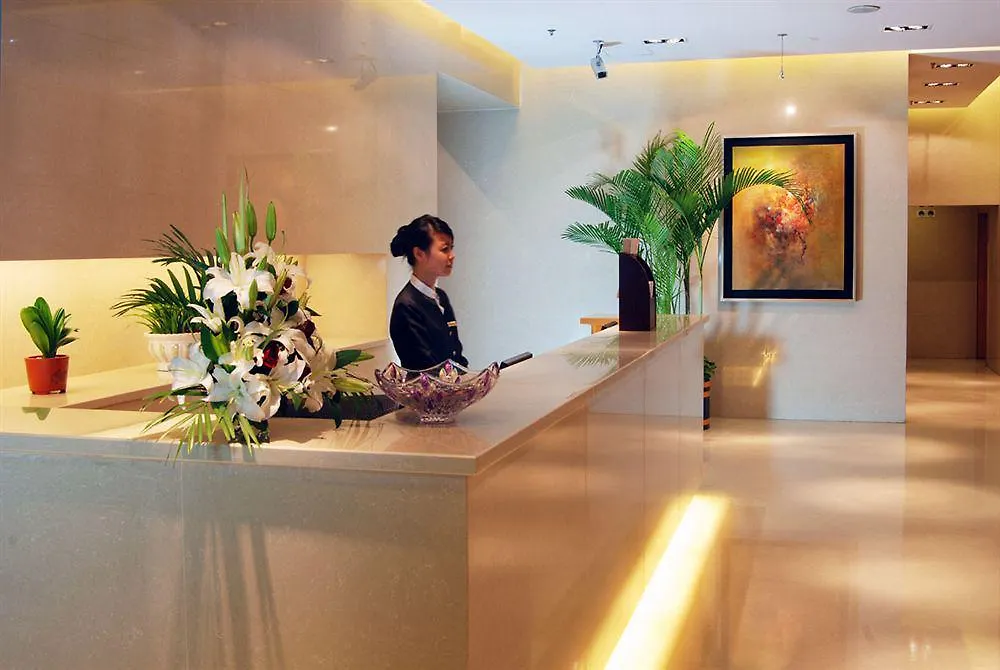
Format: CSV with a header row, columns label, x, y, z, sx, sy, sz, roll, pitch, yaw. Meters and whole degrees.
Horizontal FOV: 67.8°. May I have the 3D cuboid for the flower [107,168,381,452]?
label,x,y,z,sx,sy,sz,roll,pitch,yaw
flower,-0.767,0.014,2.295,0.675,0.758,0.513,-2,15,-33

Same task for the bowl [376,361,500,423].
label,x,y,z,sx,sy,sz,roll,pitch,yaw
bowl,-0.218,0.193,2.460,0.388,0.204,0.210,-2,8,-10

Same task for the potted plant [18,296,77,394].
label,x,y,z,sx,sy,sz,roll,pitch,yaw
potted plant,-2.457,0.085,4.017,0.249,0.504,0.278,-6,-10,15

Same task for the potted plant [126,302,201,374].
label,x,y,z,sx,sy,sz,roll,pitch,yaw
potted plant,-1.745,0.039,3.830,0.424,0.325,0.425,0,2,-8

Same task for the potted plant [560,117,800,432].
label,x,y,z,sx,sy,sz,roll,pitch,yaw
potted plant,1.768,-1.150,8.006,2.143,1.999,0.915,0,8,5

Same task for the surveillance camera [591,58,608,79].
label,x,y,z,sx,sy,sz,roll,pitch,yaw
surveillance camera,1.022,-2.621,7.741,0.150,0.262,0.092,-8,-15,-6
